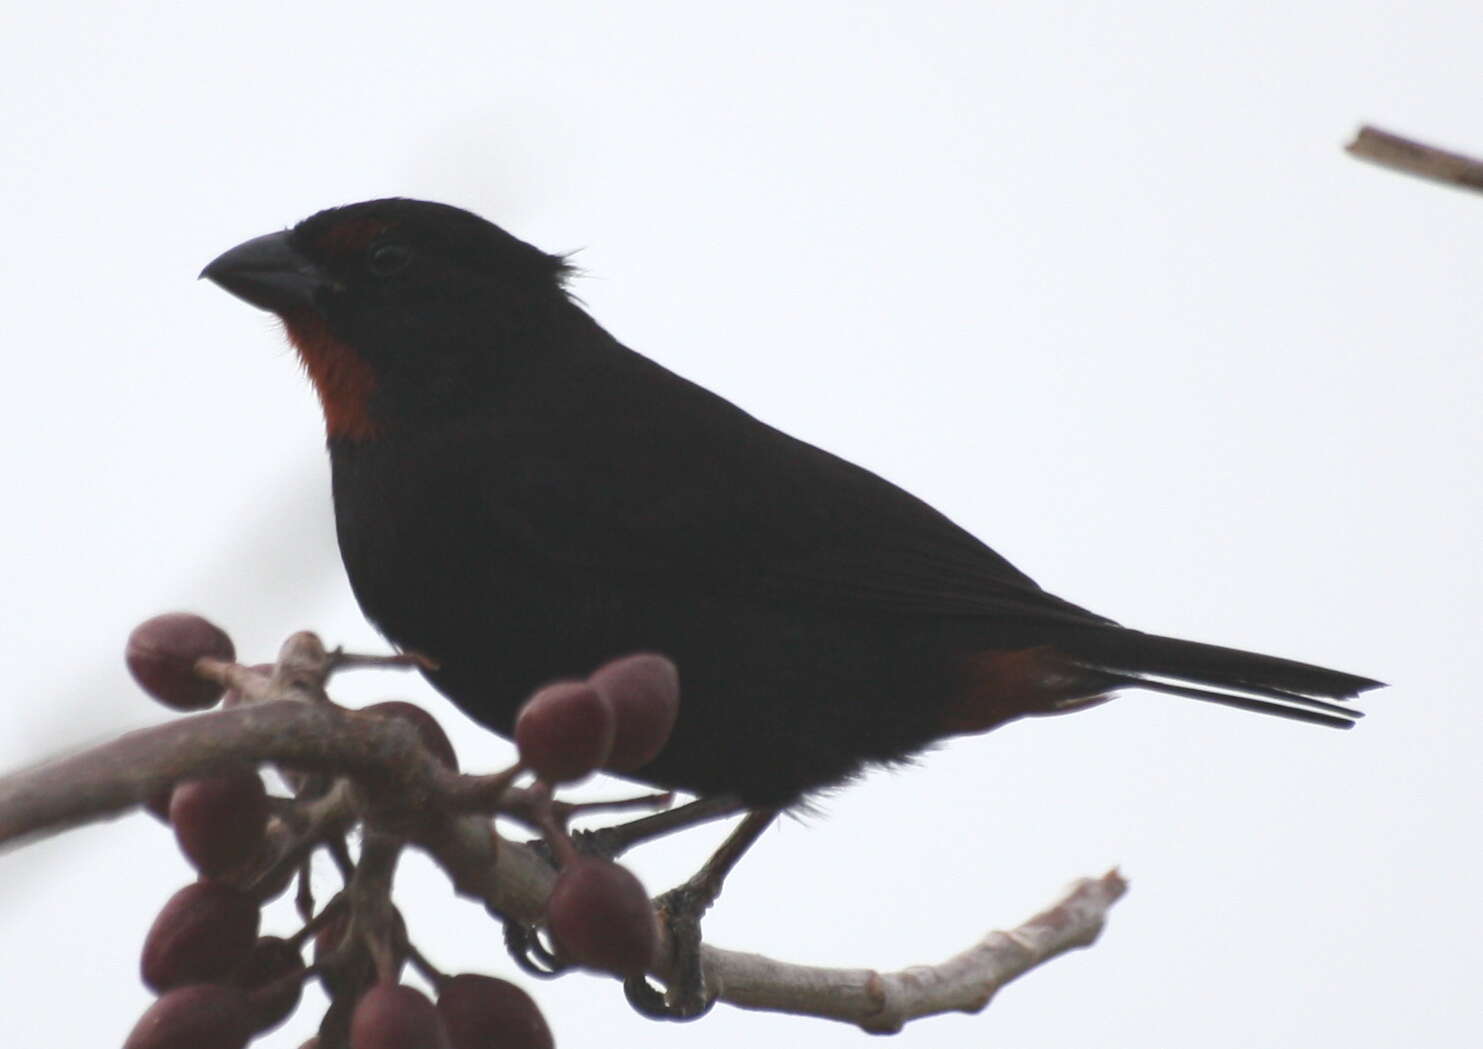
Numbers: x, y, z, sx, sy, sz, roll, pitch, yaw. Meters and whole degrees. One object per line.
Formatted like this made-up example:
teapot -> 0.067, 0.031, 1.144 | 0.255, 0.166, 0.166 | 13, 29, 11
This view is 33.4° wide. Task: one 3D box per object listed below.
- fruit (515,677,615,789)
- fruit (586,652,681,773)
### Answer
fruit -> -0.243, 0.284, 3.394 | 0.122, 0.106, 0.115 | -2, -60, 17
fruit -> -0.138, 0.249, 3.435 | 0.164, 0.111, 0.168 | -5, -77, 13
